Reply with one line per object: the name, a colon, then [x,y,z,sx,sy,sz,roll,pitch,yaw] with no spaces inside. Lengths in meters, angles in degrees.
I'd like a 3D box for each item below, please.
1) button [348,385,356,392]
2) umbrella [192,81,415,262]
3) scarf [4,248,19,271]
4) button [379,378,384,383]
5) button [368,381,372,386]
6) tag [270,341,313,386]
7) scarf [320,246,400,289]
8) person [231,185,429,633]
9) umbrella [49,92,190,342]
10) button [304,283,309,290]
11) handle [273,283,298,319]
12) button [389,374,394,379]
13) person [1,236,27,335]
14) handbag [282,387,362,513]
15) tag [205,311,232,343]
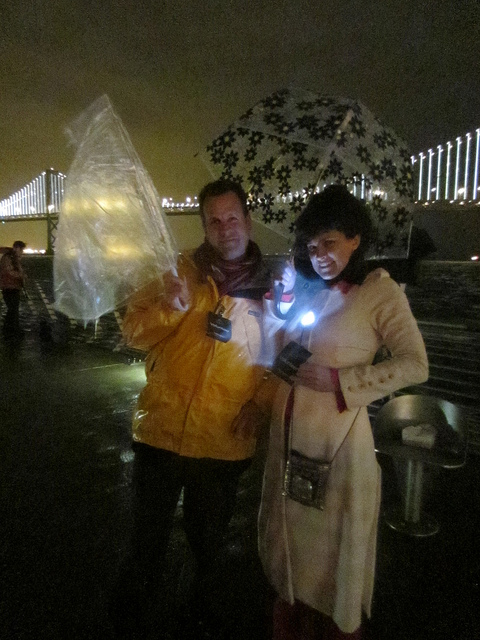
button: [0.357,0.221,1.342,0.024,0.022,0.004,-1,4,4]
umbrella: [0.302,-0.800,2.167,1.061,0.996,0.550,0,4,28]
scarf: [-4.977,-1.328,9.115,0.377,0.427,0.188,3,23,44]
button: [0.440,0.189,1.306,0.012,0.012,0.003,-24,-20,13]
button: [0.411,0.202,1.327,0.012,0.014,0.002,0,4,25]
tag: [0.179,0.142,1.498,0.137,0.130,0.164,-6,15,-35]
scarf: [0.448,-0.208,1.609,0.316,0.123,0.230,-4,5,-21]
person: [0.345,0.388,1.557,0.399,1.804,0.698,-5,5,-44]
umbrella: [-0.407,-0.344,1.372,0.401,0.697,0.223,-3,4,-23]
button: [0.274,-0.141,1.738,0.006,0.022,0.023,2,-27,-15]
handle: [0.183,-0.073,1.658,0.102,0.132,0.046,9,-4,-1]
button: [0.466,0.174,1.288,0.017,0.017,0.004,-4,-6,26]
person: [-5.025,-0.716,9.225,0.503,2.052,0.428,-5,5,-44]
handbag: [0.260,0.477,1.512,0.288,0.406,0.125,1,5,35]
tag: [-0.086,0.032,1.647,0.113,0.103,0.016,-12,-1,18]
